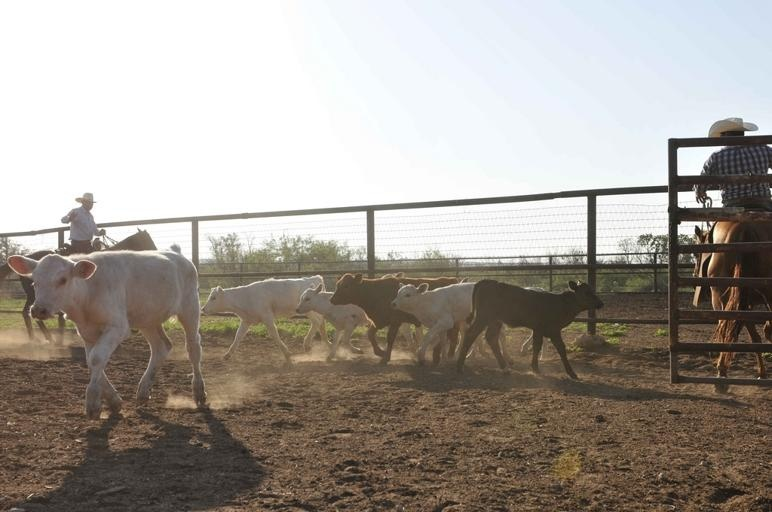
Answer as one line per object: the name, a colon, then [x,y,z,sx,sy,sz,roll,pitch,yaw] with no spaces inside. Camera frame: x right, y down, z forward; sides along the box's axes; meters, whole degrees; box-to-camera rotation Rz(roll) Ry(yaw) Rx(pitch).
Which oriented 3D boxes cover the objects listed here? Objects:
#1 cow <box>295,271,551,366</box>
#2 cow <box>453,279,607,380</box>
cow: [0.255,1.023,13.034,3.380,1.818,1.186,1,-16,-4]
cow: [2.037,1.024,11.026,1.897,1.273,0.802,1,10,11]
